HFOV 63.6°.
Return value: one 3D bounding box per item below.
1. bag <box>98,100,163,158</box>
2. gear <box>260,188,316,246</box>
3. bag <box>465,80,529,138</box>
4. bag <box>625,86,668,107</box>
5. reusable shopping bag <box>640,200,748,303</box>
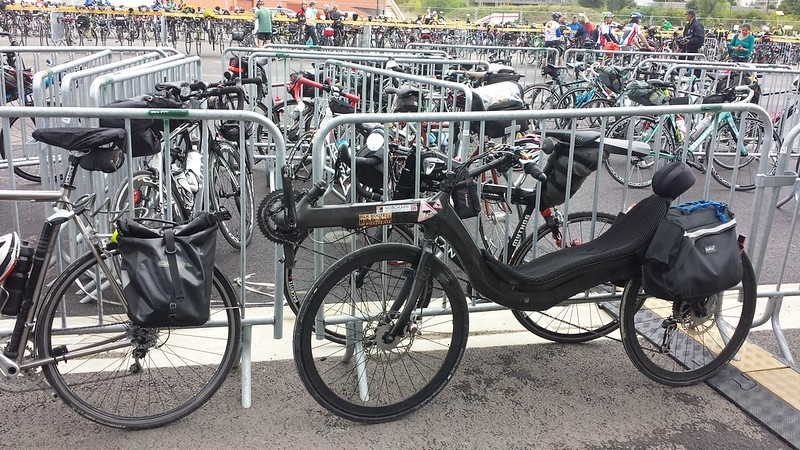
[{"bbox_3d":[-2.514,-0.882,5.989,0.610,0.538,0.389,3,46,-2],"label":"bag"},{"bbox_3d":[-1.035,-0.098,5.550,0.373,0.499,0.627,-7,21,-26],"label":"gear"},{"bbox_3d":[1.198,-1.445,8.222,0.765,0.649,0.635,-20,19,-32],"label":"bag"},{"bbox_3d":[4.147,-2.115,10.739,0.785,0.316,0.596,3,2,37],"label":"bag"},{"bbox_3d":[2.541,0.242,5.629,0.887,0.688,0.446,-13,7,-23],"label":"reusable shopping bag"}]
